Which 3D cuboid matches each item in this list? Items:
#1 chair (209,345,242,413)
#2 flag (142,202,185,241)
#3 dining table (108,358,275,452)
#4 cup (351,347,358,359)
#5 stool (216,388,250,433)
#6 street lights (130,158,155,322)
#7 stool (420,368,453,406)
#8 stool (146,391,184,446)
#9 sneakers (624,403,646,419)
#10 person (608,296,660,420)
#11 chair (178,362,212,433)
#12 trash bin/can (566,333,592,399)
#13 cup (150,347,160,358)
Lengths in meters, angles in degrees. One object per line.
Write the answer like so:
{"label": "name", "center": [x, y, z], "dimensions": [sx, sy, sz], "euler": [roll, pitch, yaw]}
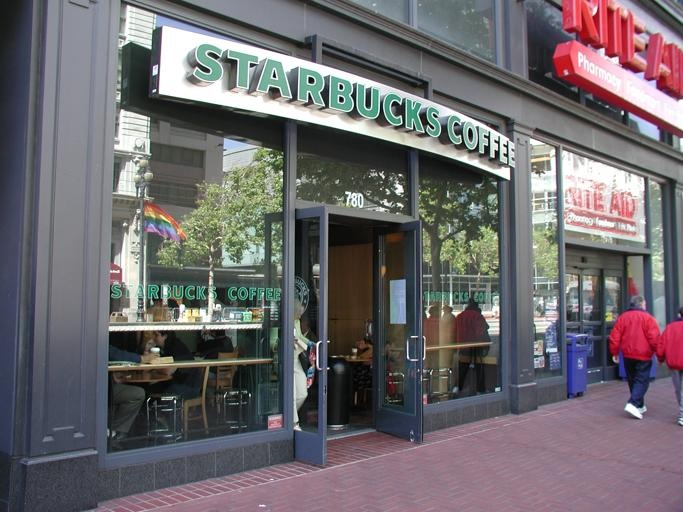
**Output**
{"label": "chair", "center": [-1.417, 1.605, 7.825], "dimensions": [0.365, 0.720, 0.445], "euler": [-5, -22, 14]}
{"label": "flag", "center": [-2.138, -0.401, 7.392], "dimensions": [0.040, 0.365, 0.381], "euler": [-19, -27, 38]}
{"label": "dining table", "center": [-1.564, 1.806, 7.641], "dimensions": [1.601, 0.796, 0.615], "euler": [-6, 1, -32]}
{"label": "cup", "center": [0.227, 1.739, 11.244], "dimensions": [0.134, 0.278, 0.141], "euler": [2, -3, 0]}
{"label": "stool", "center": [-1.349, 1.935, 7.887], "dimensions": [0.381, 0.480, 0.356], "euler": [0, -7, -30]}
{"label": "street lights", "center": [-2.305, -0.230, 7.229], "dimensions": [0.208, 1.885, 0.208], "euler": [0, 0, -23]}
{"label": "stool", "center": [1.549, 2.057, 9.934], "dimensions": [0.514, 0.667, 0.523], "euler": [0, -1, -22]}
{"label": "stool", "center": [-2.080, 1.902, 7.398], "dimensions": [0.405, 0.624, 0.404], "euler": [0, 8, -13]}
{"label": "sneakers", "center": [4.915, 2.575, 10.437], "dimensions": [0.553, 0.250, 0.213], "euler": [31, -17, -39]}
{"label": "person", "center": [4.973, 1.712, 10.594], "dimensions": [0.757, 2.110, 0.877], "euler": [1, 0, 22]}
{"label": "chair", "center": [-1.777, 1.681, 7.579], "dimensions": [0.359, 0.852, 0.399], "euler": [0, 7, 2]}
{"label": "trash bin/can", "center": [4.608, 2.162, 12.302], "dimensions": [0.247, 1.200, 0.569], "euler": [1, 0, 44]}
{"label": "cup", "center": [-2.159, 1.102, 7.221], "dimensions": [0.107, 0.124, 0.107], "euler": [1, 4, 0]}
